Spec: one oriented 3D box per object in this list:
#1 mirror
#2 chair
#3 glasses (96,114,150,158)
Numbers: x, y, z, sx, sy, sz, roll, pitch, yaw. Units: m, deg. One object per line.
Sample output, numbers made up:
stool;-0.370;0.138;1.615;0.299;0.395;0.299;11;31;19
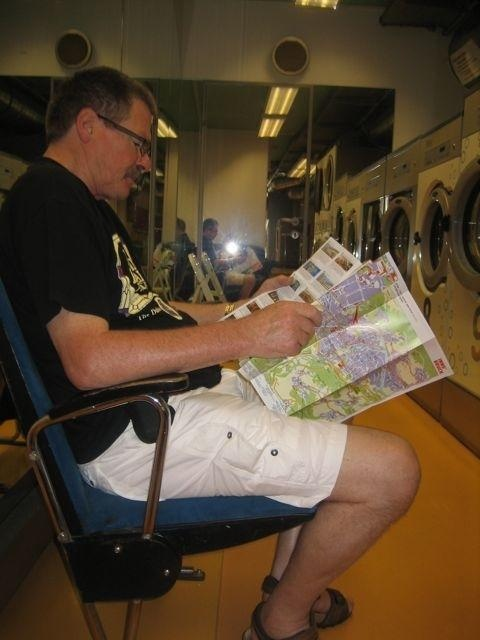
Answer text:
mirror;-0.109;-0.822;2.662;1.970;2.046;0.047;1;2;-12
chair;-0.163;0.224;0.943;0.478;0.575;0.410;-6;-11;-4
glasses;-0.216;-0.362;0.955;0.057;0.015;0.056;35;-7;24
